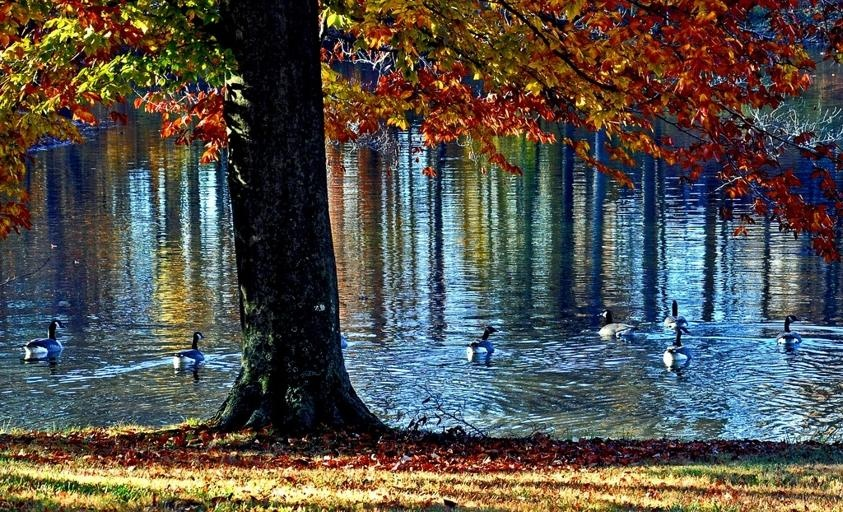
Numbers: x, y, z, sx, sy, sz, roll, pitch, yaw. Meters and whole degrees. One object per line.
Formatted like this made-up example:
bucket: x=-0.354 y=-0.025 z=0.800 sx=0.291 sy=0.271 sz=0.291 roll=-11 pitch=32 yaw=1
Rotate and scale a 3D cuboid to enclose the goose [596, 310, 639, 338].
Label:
goose: x=8.241 y=3.003 z=62.903 sx=1.789 sy=1.041 sz=0.871 roll=3 pitch=-4 yaw=15
